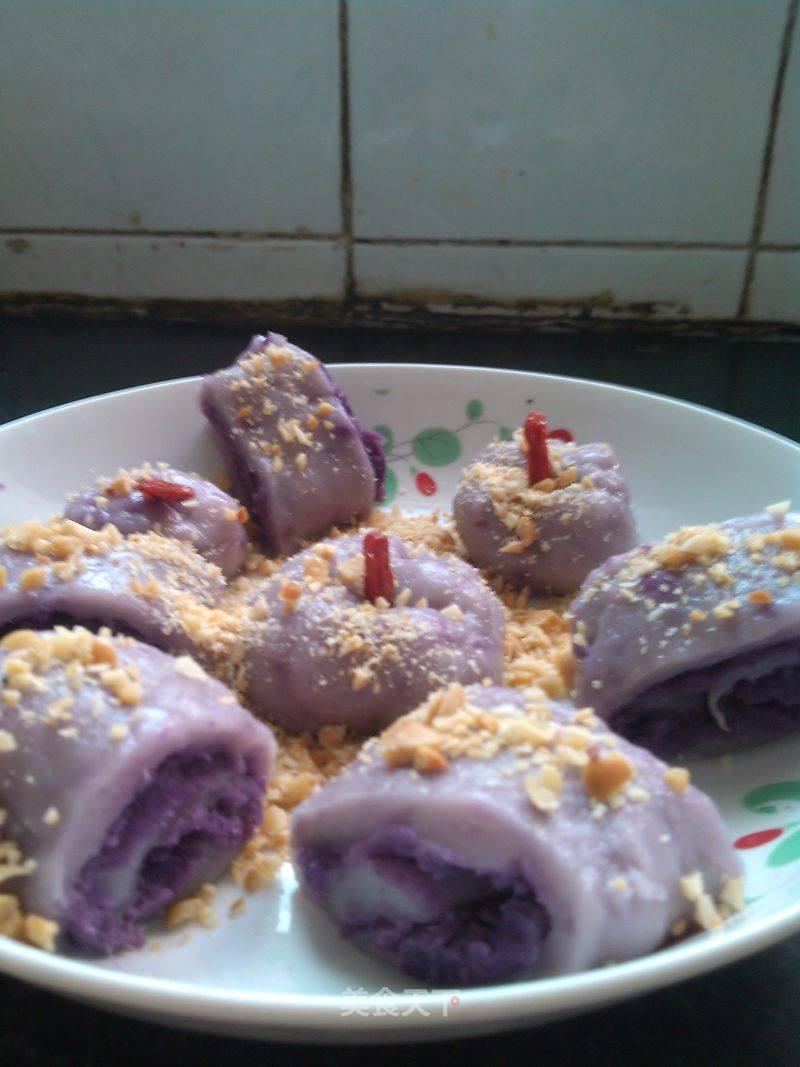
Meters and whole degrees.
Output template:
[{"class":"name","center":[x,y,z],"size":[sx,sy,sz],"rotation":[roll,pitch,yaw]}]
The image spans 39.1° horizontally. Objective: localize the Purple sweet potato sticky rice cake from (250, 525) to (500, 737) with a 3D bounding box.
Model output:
[{"class":"Purple sweet potato sticky rice cake","center":[-0.017,0.081,1.042],"size":[0.218,0.084,0.206],"rotation":[21,40,26]}]
